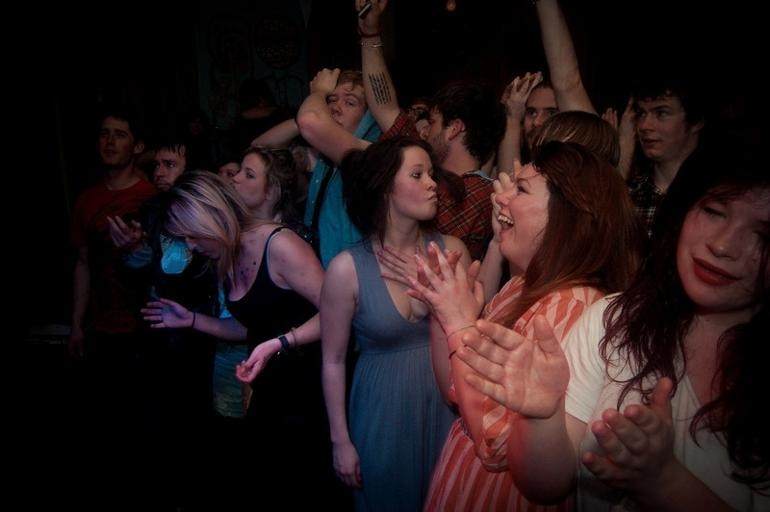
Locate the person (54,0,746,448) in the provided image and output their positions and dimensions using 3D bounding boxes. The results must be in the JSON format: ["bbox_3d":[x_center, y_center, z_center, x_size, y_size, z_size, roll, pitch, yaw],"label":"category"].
[{"bbox_3d":[0.079,-0.205,2.523,2.297,0.790,0.688,-2,25,5],"label":"person"}]
